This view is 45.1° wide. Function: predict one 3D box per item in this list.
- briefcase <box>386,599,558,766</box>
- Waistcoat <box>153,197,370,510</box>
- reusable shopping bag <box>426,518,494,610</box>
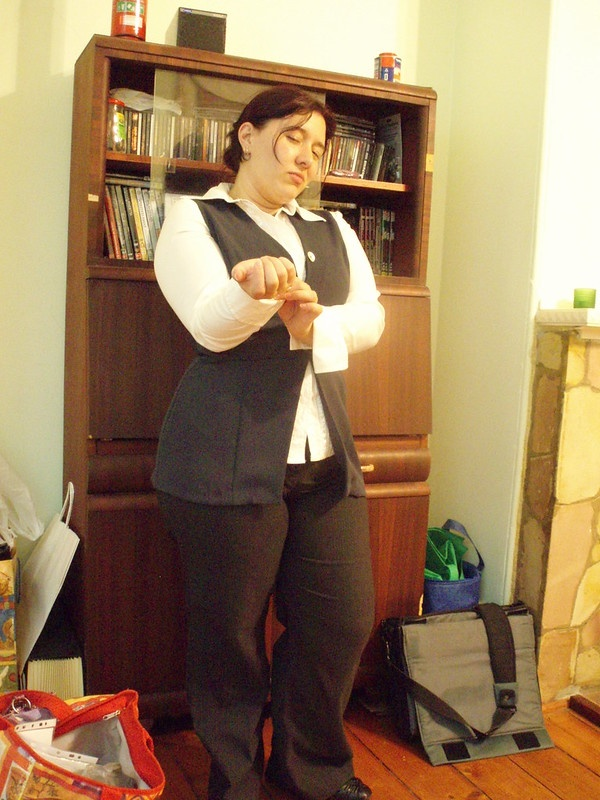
[{"bbox_3d":[0.444,0.736,2.002,0.412,0.366,0.315,1,-18,-14],"label":"briefcase"},{"bbox_3d":[-0.060,-0.099,1.386,0.420,0.555,0.310,-1,10,-27],"label":"Waistcoat"},{"bbox_3d":[0.455,0.513,2.250,0.174,0.268,0.263,0,4,9],"label":"reusable shopping bag"}]
